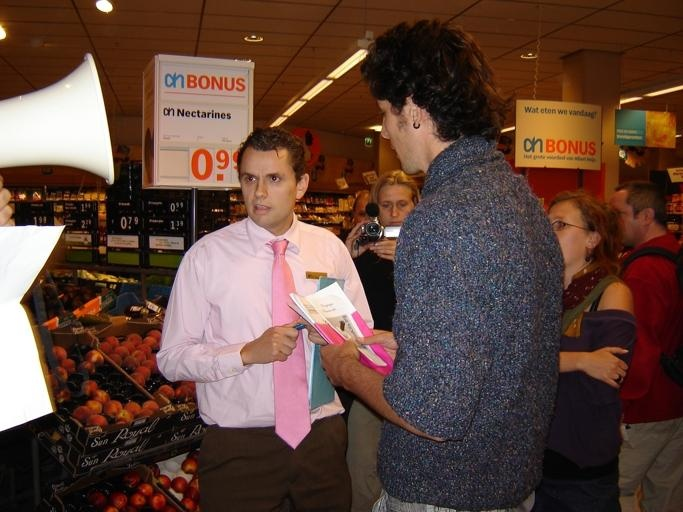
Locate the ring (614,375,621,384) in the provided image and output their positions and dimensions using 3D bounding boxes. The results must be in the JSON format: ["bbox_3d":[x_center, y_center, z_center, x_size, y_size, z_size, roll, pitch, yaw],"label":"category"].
[{"bbox_3d":[1.207,0.542,2.166,0.028,0.040,0.016,-7,-33,34],"label":"ring"}]

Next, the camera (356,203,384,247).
[{"bbox_3d":[0.200,-0.133,3.042,0.092,0.199,0.272,-6,-11,14],"label":"camera"}]
